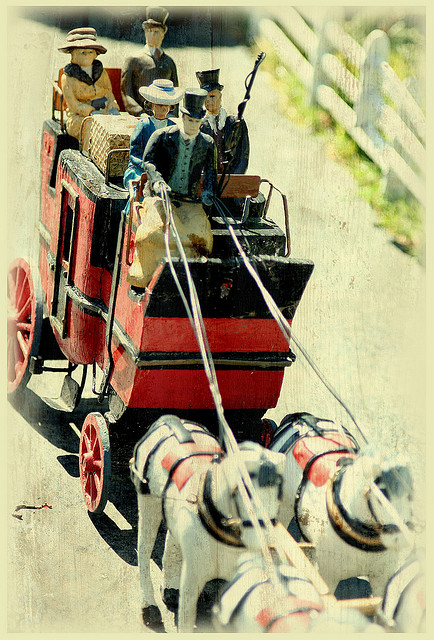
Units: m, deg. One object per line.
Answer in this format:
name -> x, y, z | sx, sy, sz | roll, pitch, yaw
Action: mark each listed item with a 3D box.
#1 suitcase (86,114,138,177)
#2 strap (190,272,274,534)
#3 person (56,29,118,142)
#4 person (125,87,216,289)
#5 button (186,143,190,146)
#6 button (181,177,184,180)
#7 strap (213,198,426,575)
suitcase -> -0.583, -1.004, 7.838 | 0.246, 0.288, 0.501 | -1, 21, -16
strap -> 0.068, 0.390, 6.859 | 0.040, 1.278, 0.045 | -14, -8, -3
person -> -0.783, -1.424, 8.953 | 0.302, 0.868, 0.406 | -8, 11, -40
person -> -0.218, -0.629, 6.988 | 0.402, 0.953, 0.745 | 10, 30, 12
button -> -0.146, -0.882, 7.046 | 0.016, 0.012, 0.001 | -7, 28, -20
button -> -0.177, -0.719, 7.128 | 0.011, 0.014, 0.003 | 0, 2, -11
strap -> 0.504, 0.386, 7.375 | 0.131, 0.131, 2.748 | -16, 47, -6
